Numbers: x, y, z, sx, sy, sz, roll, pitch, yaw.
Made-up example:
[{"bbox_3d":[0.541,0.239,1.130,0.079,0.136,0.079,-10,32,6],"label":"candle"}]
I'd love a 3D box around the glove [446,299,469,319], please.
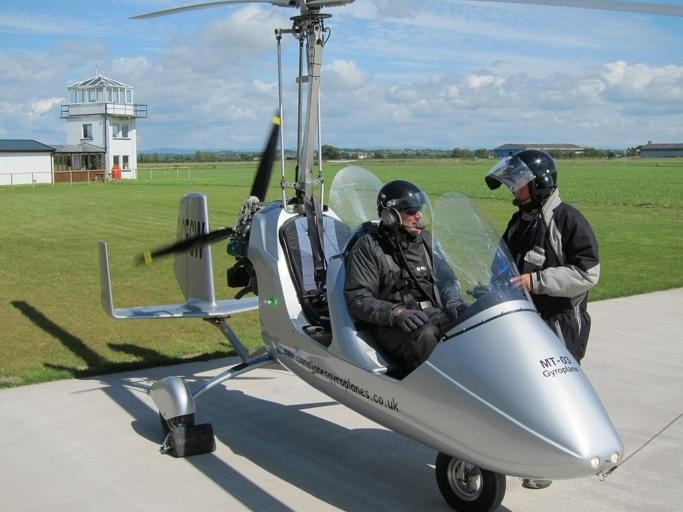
[{"bbox_3d":[0.741,0.346,3.815,0.103,0.040,0.126,-16,25,-4],"label":"glove"}]

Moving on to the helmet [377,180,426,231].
[{"bbox_3d":[0.420,-0.382,4.322,0.397,0.325,0.385,-10,15,-42],"label":"helmet"}]

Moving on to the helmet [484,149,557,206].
[{"bbox_3d":[1.393,-0.619,4.617,0.589,0.396,0.426,-9,10,-10],"label":"helmet"}]

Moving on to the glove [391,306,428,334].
[{"bbox_3d":[0.452,0.437,3.926,0.261,0.149,0.168,11,16,42],"label":"glove"}]
